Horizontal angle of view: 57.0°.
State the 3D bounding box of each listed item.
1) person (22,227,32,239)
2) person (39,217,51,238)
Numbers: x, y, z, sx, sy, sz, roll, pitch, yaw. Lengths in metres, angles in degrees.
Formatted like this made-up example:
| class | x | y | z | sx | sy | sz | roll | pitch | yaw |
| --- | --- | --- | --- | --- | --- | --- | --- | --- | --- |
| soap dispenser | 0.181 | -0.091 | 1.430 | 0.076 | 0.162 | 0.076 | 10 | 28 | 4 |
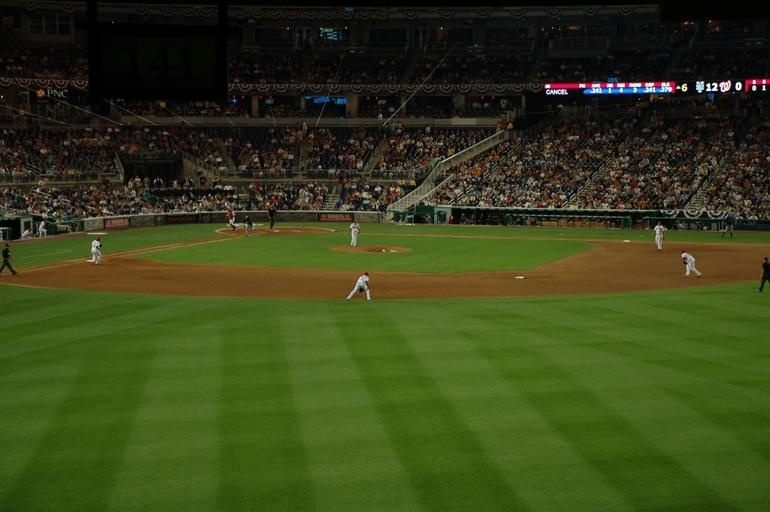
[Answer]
| class | x | y | z | sx | sy | sz | roll | pitch | yaw |
| --- | --- | --- | --- | --- | --- | --- | --- | --- | --- |
| person | -27.025 | -1.685 | 53.371 | 0.429 | 0.678 | 1.251 | -1 | 15 | -3 |
| person | -26.656 | -2.052 | 54.973 | 0.659 | 1.021 | 1.085 | -5 | 16 | -18 |
